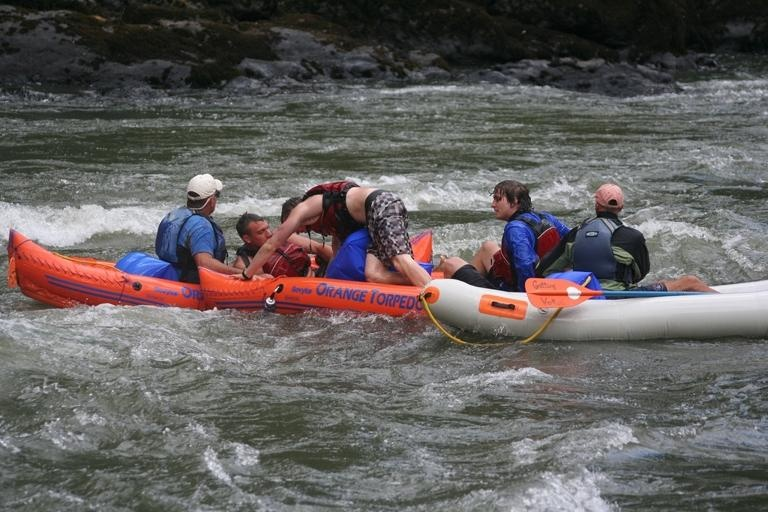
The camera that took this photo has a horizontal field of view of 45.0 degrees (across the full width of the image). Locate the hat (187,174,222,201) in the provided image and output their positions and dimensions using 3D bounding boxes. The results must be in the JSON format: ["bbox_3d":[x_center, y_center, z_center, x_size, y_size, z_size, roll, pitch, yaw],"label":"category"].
[{"bbox_3d":[-2.355,-0.920,12.243,0.366,0.224,0.478,18,34,33],"label":"hat"}]

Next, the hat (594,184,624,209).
[{"bbox_3d":[2.783,-0.744,11.396,0.336,0.183,0.402,3,17,1],"label":"hat"}]

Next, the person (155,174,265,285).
[{"bbox_3d":[-2.459,-0.334,13.146,1.259,1.071,1.997,-16,32,-38],"label":"person"}]
